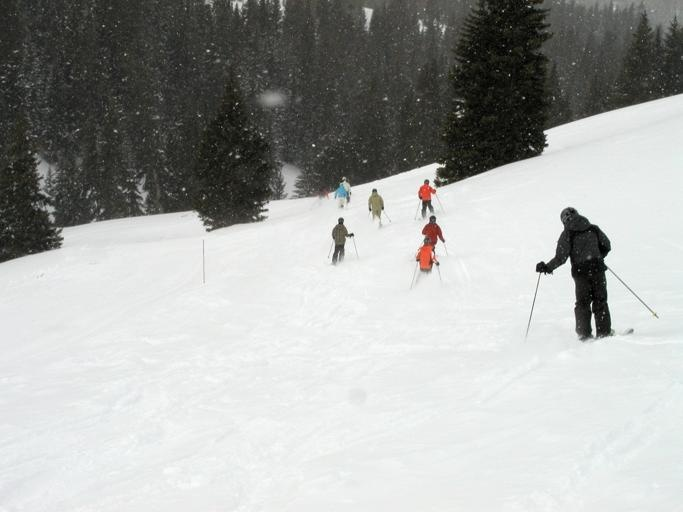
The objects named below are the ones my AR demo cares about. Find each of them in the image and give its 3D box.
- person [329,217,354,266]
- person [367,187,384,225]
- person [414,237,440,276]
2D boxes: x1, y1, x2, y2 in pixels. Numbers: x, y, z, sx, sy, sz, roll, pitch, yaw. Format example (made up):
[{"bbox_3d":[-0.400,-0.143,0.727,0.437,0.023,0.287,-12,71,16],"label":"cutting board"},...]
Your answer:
[{"bbox_3d":[-0.128,-0.881,44.141,0.990,2.622,0.693,-5,12,-1],"label":"person"},{"bbox_3d":[2.152,-2.967,48.168,0.775,2.096,1.236,-13,15,-32],"label":"person"},{"bbox_3d":[4.466,0.075,41.012,1.180,2.685,0.743,7,25,20],"label":"person"}]
